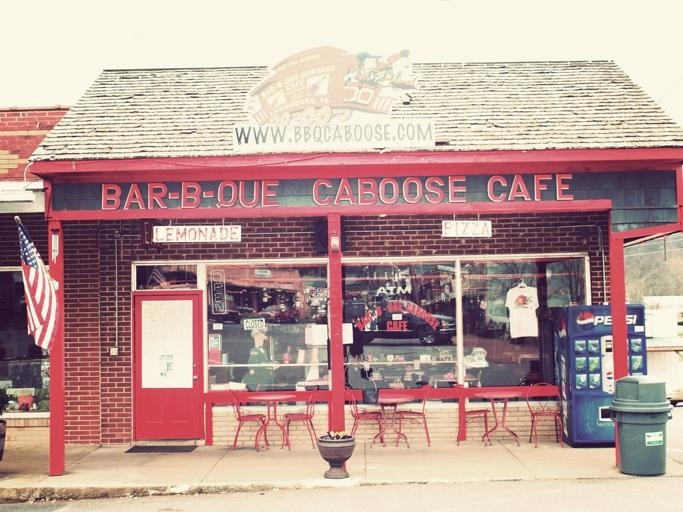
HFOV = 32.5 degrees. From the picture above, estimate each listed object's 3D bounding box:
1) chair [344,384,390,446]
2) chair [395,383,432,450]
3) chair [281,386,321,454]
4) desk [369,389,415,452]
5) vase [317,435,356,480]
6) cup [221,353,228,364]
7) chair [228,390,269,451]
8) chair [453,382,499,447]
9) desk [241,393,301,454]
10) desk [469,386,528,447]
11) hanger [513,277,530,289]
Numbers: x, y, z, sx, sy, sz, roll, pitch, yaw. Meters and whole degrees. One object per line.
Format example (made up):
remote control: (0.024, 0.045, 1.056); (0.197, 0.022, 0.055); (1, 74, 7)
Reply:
chair: (0.440, 3.071, 22.435); (0.726, 1.034, 0.657); (-4, 4, 7)
chair: (1.352, 3.117, 22.658); (0.751, 1.127, 0.704); (-1, 0, 5)
chair: (-0.830, 3.084, 22.372); (0.738, 1.047, 0.720); (1, 1, 8)
desk: (1.107, 3.125, 22.182); (1.168, 1.068, 0.884); (0, -9, -4)
vase: (-0.098, 3.525, 20.427); (0.735, 0.627, 0.703); (0, -13, 2)
cup: (-2.266, 2.031, 22.731); (0.158, 0.286, 0.158); (-1, -4, 0)
chair: (-1.748, 3.129, 22.335); (0.717, 1.028, 0.748); (4, -1, -12)
chair: (2.511, 3.120, 22.493); (0.910, 1.296, 1.076); (-1, -6, 11)
desk: (-1.326, 3.201, 22.437); (0.900, 1.009, 0.935); (-9, 2, -36)
desk: (2.940, 3.110, 22.562); (0.994, 1.013, 1.096); (-4, -5, 43)
hanger: (3.495, 0.547, 22.800); (0.219, 0.231, 0.015); (1, -3, -3)
